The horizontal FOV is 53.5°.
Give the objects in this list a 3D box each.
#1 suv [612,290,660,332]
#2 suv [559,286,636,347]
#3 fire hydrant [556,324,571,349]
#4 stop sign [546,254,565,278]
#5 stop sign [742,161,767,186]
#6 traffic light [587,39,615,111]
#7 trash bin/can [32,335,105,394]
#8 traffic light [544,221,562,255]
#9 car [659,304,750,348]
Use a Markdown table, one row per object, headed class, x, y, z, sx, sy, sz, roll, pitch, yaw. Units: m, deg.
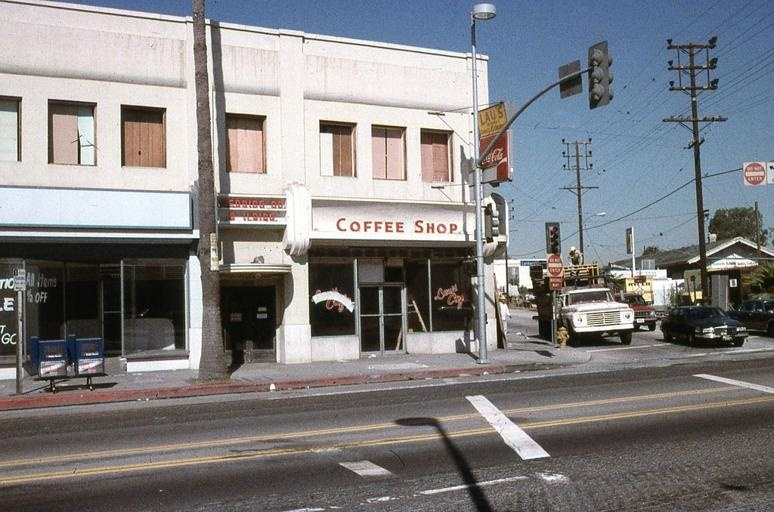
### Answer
| class | x | y | z | sx | sy | sz | roll | pitch | yaw |
| --- | --- | --- | --- | --- | --- | --- | --- | --- | --- |
| suv | 13.342 | 2.974 | 42.532 | 2.022 | 1.930 | 3.814 | -2 | -1 | 1 |
| suv | 9.292 | 2.729 | 35.631 | 2.881 | 2.298 | 4.992 | -3 | 0 | -3 |
| fire hydrant | 7.708 | 3.539 | 33.592 | 0.798 | 1.132 | 0.831 | -1 | -3 | 22 |
| stop sign | 6.858 | 0.416 | 31.482 | 0.989 | 1.231 | 0.156 | 1 | -8 | -11 |
| stop sign | 18.646 | -4.185 | 38.928 | 1.120 | 1.039 | 0.402 | -1 | 4 | 0 |
| traffic light | 6.362 | -5.441 | 23.021 | 0.765 | 1.972 | 0.482 | 2 | 5 | 32 |
| trash bin/can | -10.065 | 3.302 | 23.910 | 1.718 | 1.640 | 2.121 | -5 | 6 | -44 |
| traffic light | 6.918 | -0.658 | 31.884 | 0.527 | 1.364 | 1.070 | 0 | 4 | 8 |
| car | 13.433 | 3.065 | 32.657 | 1.666 | 1.764 | 3.576 | -2 | 4 | -16 |
